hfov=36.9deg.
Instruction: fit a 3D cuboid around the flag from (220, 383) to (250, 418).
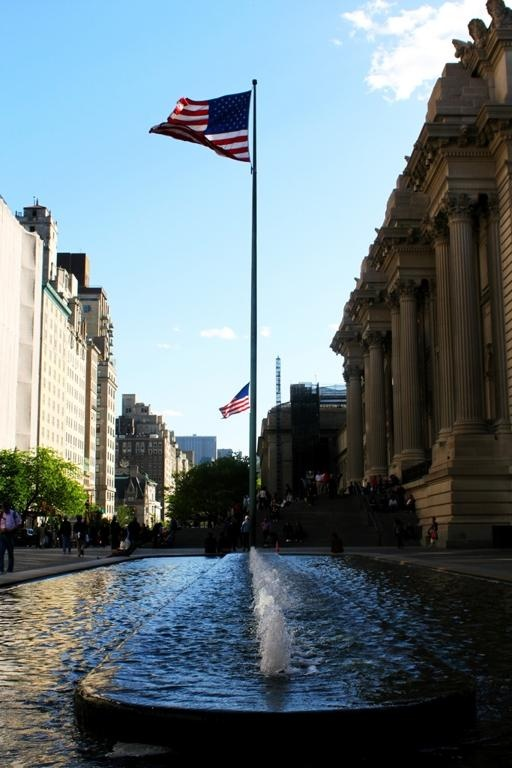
[{"bbox_3d":[-0.846,1.014,40.853,1.554,1.761,0.184,-13,-8,42],"label":"flag"}]
